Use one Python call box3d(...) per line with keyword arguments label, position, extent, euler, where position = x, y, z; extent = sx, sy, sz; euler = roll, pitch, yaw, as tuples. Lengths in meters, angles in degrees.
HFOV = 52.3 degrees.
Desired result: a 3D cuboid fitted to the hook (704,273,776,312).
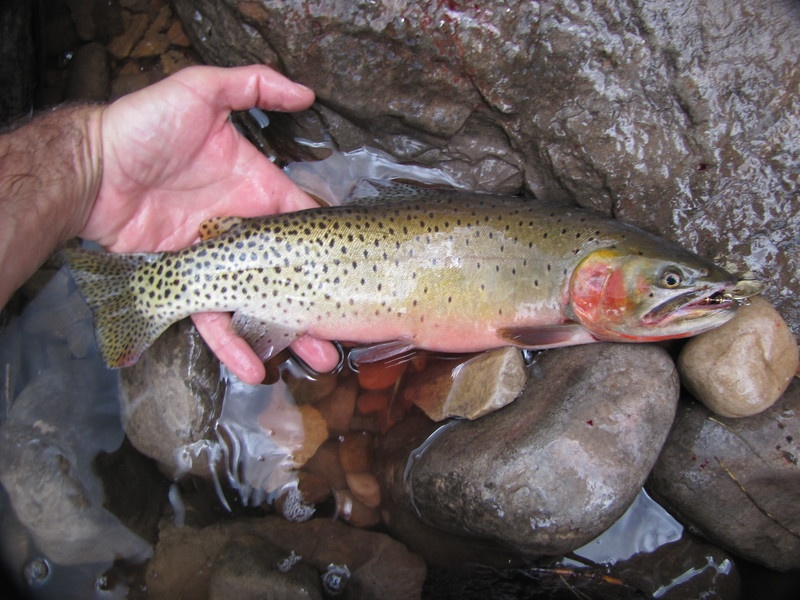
box3d(label="hook", position=(2.424, -0.044, 5.875), extent=(0.454, 0.174, 0.211), euler=(-20, 83, -10))
